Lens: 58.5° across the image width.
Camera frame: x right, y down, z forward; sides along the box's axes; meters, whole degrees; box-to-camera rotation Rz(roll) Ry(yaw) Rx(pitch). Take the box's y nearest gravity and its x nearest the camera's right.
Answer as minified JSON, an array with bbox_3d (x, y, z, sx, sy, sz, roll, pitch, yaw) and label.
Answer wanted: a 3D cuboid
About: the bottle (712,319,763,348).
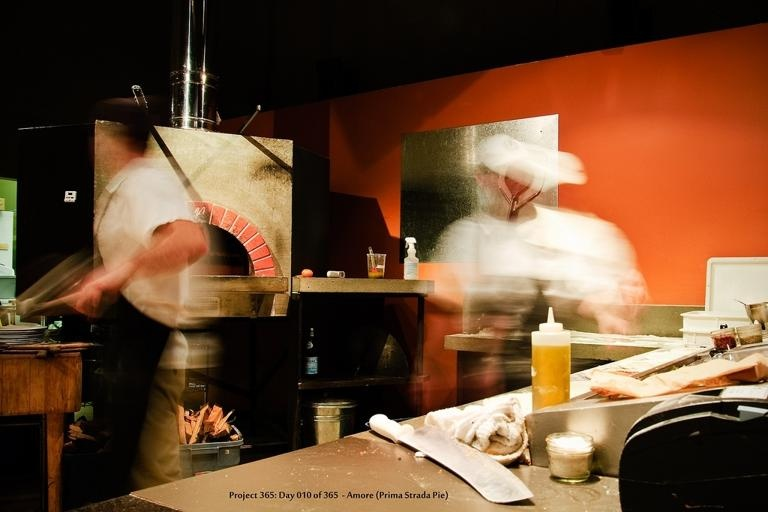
[{"bbox_3d":[1.878,0.417,3.651,0.225,0.092,0.135,-6,-7,11],"label":"bottle"}]

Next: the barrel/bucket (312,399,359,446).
[{"bbox_3d":[-0.356,1.222,5.046,0.203,0.310,0.317,0,-6,41],"label":"barrel/bucket"}]

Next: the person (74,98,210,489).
[{"bbox_3d":[-1.636,0.226,4.640,0.873,2.543,1.246,6,-5,-24],"label":"person"}]

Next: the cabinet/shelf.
[{"bbox_3d":[-0.187,0.790,5.068,1.343,1.512,0.469,2,-4,-26],"label":"cabinet/shelf"}]

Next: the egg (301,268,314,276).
[{"bbox_3d":[-0.593,0.128,5.266,0.072,0.047,0.070,-4,-2,7],"label":"egg"}]

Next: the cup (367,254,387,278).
[{"bbox_3d":[-0.072,0.075,5.517,0.188,0.224,0.202,2,-6,0],"label":"cup"}]

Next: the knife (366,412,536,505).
[{"bbox_3d":[0.208,0.741,2.675,0.202,0.089,0.848,-23,26,-38],"label":"knife"}]
